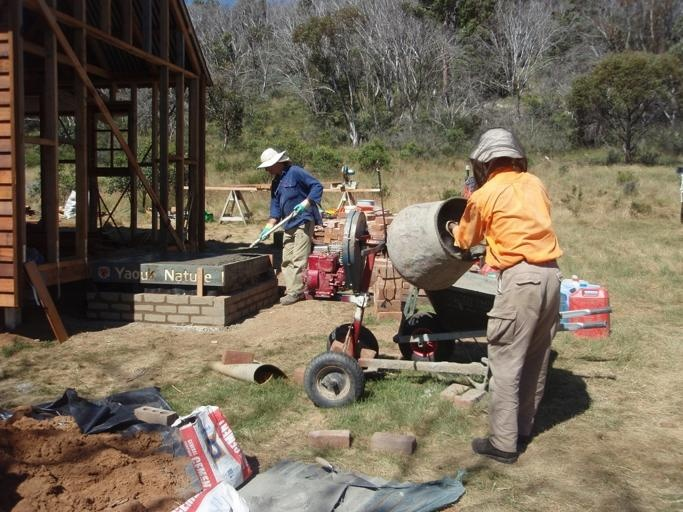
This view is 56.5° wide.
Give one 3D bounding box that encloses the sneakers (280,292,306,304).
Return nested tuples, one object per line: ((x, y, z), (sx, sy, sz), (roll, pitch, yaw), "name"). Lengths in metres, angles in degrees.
((-0.764, 0.650, 9.924), (0.143, 0.181, 0.408), (1, 0, 45), "sneakers")

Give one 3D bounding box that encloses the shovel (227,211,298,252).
((-1.765, -0.508, 13.691), (1.596, 0.314, 0.236), (-44, 25, -12), "shovel")

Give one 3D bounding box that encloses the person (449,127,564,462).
((1.485, 0.312, 5.806), (0.841, 2.839, 0.842), (-11, 18, -42), "person")

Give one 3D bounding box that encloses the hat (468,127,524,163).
((1.449, -0.983, 5.827), (0.306, 0.309, 0.394), (0, 2, -1), "hat")

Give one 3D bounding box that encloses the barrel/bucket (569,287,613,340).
((3.461, 0.822, 8.737), (0.520, 0.768, 0.516), (-2, -6, 0), "barrel/bucket")

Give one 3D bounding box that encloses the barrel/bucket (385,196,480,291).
((0.950, -0.160, 6.350), (0.856, 0.871, 0.650), (-23, -9, -32), "barrel/bucket")

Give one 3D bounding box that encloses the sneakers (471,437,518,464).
((1.351, 1.731, 5.726), (0.417, 0.185, 0.162), (16, 12, 40), "sneakers")

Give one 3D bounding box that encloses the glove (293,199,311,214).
((-0.590, -0.737, 9.545), (0.252, 0.153, 0.110), (-32, -31, 19), "glove")

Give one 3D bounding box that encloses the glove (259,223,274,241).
((-1.096, -0.347, 9.478), (0.208, 0.273, 0.602), (0, 14, -5), "glove")
